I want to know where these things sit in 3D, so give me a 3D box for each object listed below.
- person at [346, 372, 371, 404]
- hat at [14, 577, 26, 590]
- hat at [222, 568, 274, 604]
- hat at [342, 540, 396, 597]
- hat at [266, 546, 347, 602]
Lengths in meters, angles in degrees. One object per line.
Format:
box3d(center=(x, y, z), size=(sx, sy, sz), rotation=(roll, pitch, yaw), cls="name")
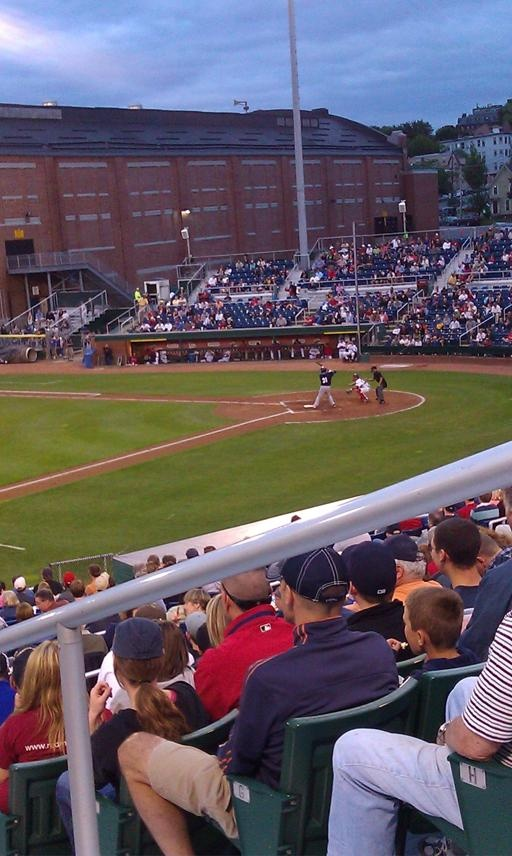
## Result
box3d(center=(3.256, -1.365, 30.418), size=(1.021, 1.237, 1.023), rotation=(1, 9, 15), cls="person")
box3d(center=(-3.180, 2.095, 12.194), size=(0.147, 0.187, 0.197), rotation=(4, -9, -15), cls="hat")
box3d(center=(-0.040, 0.655, 3.719), size=(0.233, 0.112, 0.304), rotation=(-5, 5, -10), cls="hat")
box3d(center=(0.560, 0.655, 4.600), size=(0.252, 0.192, 0.334), rotation=(-4, 30, -4), cls="hat")
box3d(center=(0.223, 0.502, 3.295), size=(0.233, 0.173, 0.307), rotation=(-1, 10, -16), cls="hat")
